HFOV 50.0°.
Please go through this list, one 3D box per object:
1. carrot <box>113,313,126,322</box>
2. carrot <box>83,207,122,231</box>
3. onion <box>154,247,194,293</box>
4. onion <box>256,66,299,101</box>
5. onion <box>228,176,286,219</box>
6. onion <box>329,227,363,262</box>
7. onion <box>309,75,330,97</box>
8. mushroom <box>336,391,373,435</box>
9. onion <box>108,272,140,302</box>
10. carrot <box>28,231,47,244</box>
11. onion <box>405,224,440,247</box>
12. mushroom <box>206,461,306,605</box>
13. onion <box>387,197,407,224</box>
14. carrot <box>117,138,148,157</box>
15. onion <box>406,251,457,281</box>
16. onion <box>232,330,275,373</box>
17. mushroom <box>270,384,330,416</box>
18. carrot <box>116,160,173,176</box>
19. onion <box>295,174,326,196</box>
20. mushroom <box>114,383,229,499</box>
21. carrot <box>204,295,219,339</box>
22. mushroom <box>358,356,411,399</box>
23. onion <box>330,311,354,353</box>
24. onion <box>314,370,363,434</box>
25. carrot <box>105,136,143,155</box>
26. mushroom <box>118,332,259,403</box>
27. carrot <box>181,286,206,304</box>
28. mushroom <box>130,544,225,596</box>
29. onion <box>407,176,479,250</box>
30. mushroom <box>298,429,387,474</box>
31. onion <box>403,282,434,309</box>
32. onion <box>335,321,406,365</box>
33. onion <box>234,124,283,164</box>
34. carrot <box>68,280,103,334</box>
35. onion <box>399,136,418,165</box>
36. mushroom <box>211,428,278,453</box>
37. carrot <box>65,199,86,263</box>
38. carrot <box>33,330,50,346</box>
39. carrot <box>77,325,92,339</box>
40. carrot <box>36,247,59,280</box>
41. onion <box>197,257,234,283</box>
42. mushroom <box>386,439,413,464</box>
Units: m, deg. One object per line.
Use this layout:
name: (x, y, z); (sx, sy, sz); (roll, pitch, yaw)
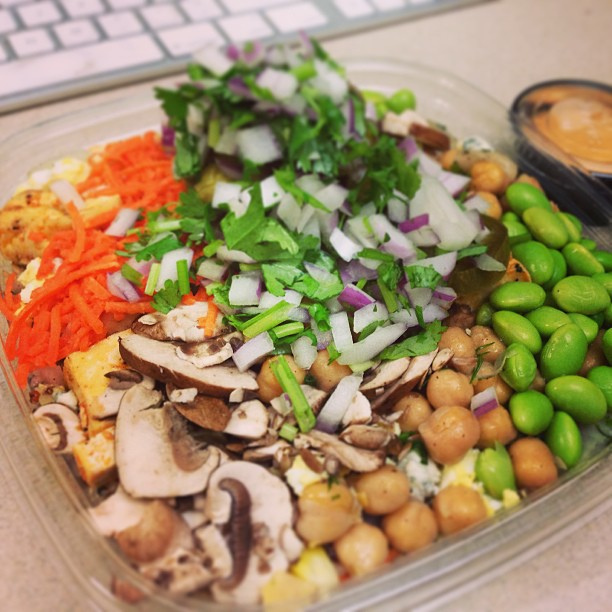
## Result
carrot: (-0.605, 0.034, 2.145); (0.038, 0.026, 0.009); (-5, 26, -14)
carrot: (-0.707, -0.297, 2.254); (0.118, 0.092, 0.026); (-9, 64, -39)
onion: (-0.438, -0.120, 2.188); (0.113, 0.045, 0.144); (23, 84, 3)
onion: (-0.086, -0.679, 1.996); (0.132, 0.035, 0.103); (29, 82, 10)
onion: (-0.151, -0.335, 2.002); (0.177, 0.103, 0.101); (-8, 37, -3)
onion: (0.117, -0.191, 2.041); (0.119, 0.098, 0.031); (-28, 2, -16)
onion: (0.042, -0.687, 2.039); (0.050, 0.018, 0.071); (-37, 83, -29)
mushroom: (0.134, 0.313, 1.919); (0.148, 0.034, 0.095); (1, 76, 10)
onion: (-0.563, -0.070, 2.161); (0.108, 0.097, 0.034); (30, 83, 32)
carrot: (-0.933, -0.239, 2.269); (0.058, 0.038, 0.013); (-3, 11, -16)
onion: (0.373, -0.223, 2.094); (0.085, 0.076, 0.029); (-34, 17, 19)
mushroom: (-0.160, 0.638, 1.856); (0.275, 0.271, 0.316); (-10, 36, -2)
onion: (0.290, -0.306, 2.101); (0.082, 0.071, 0.033); (-8, 2, -1)
carrot: (-0.632, -0.575, 2.388); (0.125, 0.024, 0.020); (-23, 45, -10)
onion: (0.404, -0.126, 2.121); (0.137, 0.035, 0.096); (-10, 21, 1)
onion: (-0.163, 0.137, 2.022); (0.170, 0.042, 0.079); (-33, 69, 10)
mushroom: (-0.027, 0.281, 2.010); (0.130, 0.035, 0.109); (19, 47, 20)
carrot: (-0.585, -0.498, 2.347); (0.108, 0.018, 0.087); (-15, 5, -10)
onion: (0.012, -0.369, 1.994); (0.086, 0.066, 0.021); (-31, 17, -8)
mushroom: (-0.444, 0.394, 1.937); (0.295, 0.210, 0.363); (-24, 38, -23)
carrot: (-0.301, 0.038, 2.072); (0.037, 0.026, 0.115); (14, 61, -19)
mushroom: (0.245, 0.212, 2.024); (0.163, 0.035, 0.103); (-37, 23, -1)
onion: (0.109, 0.077, 2.022); (0.085, 0.026, 0.106); (-9, 81, -8)
onion: (0.099, 0.293, 2.037); (0.075, 0.067, 0.244); (38, 72, 8)
carrot: (-0.665, -0.581, 2.399); (0.085, 0.026, 0.097); (-23, 17, -24)
mushroom: (-0.369, 0.177, 2.013); (0.311, 0.067, 0.288); (25, 18, 23)
carrot: (-0.367, -0.035, 2.130); (0.073, 0.023, 0.047); (-1, 72, -13)
mushroom: (-0.405, 0.751, 1.921); (0.223, 0.242, 0.071); (-3, 63, 1)
onion: (0.432, -0.292, 2.083); (0.182, 0.268, 0.063); (-52, 10, -17)
mushroom: (0.102, 0.414, 1.935); (0.268, 0.105, 0.073); (20, 15, 20)
onion: (0.356, -0.034, 2.080); (0.110, 0.074, 0.029); (-6, 19, -7)
onion: (0.207, 0.112, 2.092); (0.295, 0.069, 0.054); (-20, 10, -20)
onion: (-0.147, -0.492, 2.002); (0.169, 0.108, 0.038); (-6, 4, 15)
carrot: (-0.684, 0.017, 2.081); (0.088, 0.251, 0.054); (20, 61, -6)
onion: (0.343, -0.509, 2.138); (0.030, 0.092, 0.073); (13, 81, -4)
mushroom: (-0.173, 0.399, 1.950); (0.112, 0.025, 0.104); (7, 13, 24)
carrot: (-0.770, -0.245, 2.185); (0.074, 0.033, 0.197); (-12, 62, 2)
carrot: (-0.840, 0.100, 2.099); (0.058, 0.014, 0.037); (0, 80, -5)
carrot: (-0.710, 0.080, 2.095); (0.061, 0.040, 0.014); (-3, 3, -13)
carrot: (-0.872, -0.144, 2.200); (0.070, 0.034, 0.104); (27, 73, -15)
onion: (-0.288, -0.119, 2.106); (0.107, 0.029, 0.083); (23, 88, 17)
mushroom: (0.274, 0.436, 1.993); (0.025, 0.089, 0.069); (-1, 67, 57)
